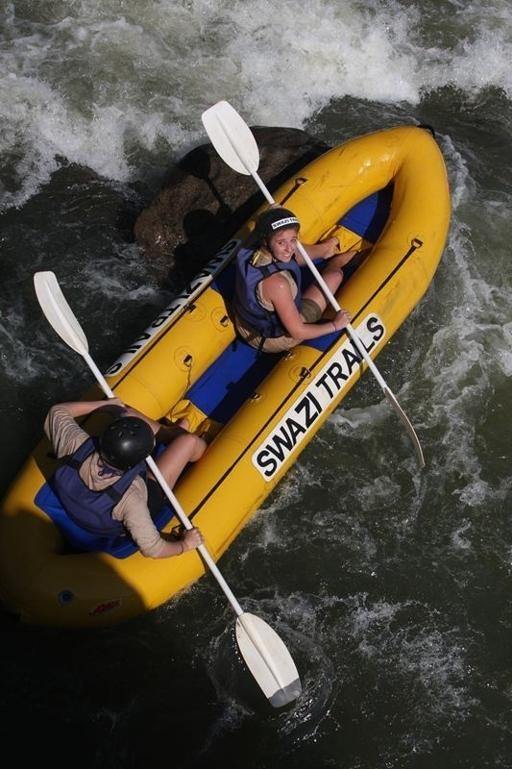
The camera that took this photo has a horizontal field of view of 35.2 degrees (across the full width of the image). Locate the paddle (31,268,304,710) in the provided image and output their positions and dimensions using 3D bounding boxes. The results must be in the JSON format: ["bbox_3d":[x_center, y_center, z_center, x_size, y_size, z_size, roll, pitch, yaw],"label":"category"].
[{"bbox_3d":[-0.455,0.695,4.698,0.328,0.111,3.013,-25,77,-37],"label":"paddle"}]

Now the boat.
[{"bbox_3d":[-0.125,0.093,5.511,1.520,0.775,4.577,43,74,4],"label":"boat"}]

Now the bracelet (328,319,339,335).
[{"bbox_3d":[0.478,-0.359,4.990,0.055,0.028,0.091,-2,80,1],"label":"bracelet"}]

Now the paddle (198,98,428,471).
[{"bbox_3d":[0.383,-0.568,5.335,0.410,0.223,3.223,-35,92,-1],"label":"paddle"}]

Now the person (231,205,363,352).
[{"bbox_3d":[0.247,-0.636,5.056,0.516,0.625,0.841,43,78,8],"label":"person"}]
